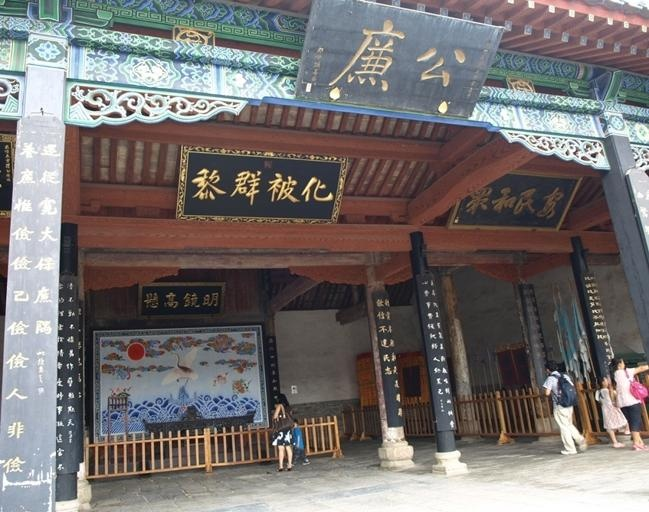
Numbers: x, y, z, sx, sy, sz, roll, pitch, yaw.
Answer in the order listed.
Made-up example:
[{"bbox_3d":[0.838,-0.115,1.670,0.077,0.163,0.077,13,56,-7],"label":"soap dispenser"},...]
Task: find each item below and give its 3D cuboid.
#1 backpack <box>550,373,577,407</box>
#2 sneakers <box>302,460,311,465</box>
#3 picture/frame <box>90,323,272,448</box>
[{"bbox_3d":[3.377,1.854,7.057,0.338,0.502,0.202,-8,-17,2],"label":"backpack"},{"bbox_3d":[-0.279,3.572,8.711,0.147,0.088,0.057,-10,-14,43],"label":"sneakers"},{"bbox_3d":[-3.078,2.716,11.129,3.852,2.119,0.048,5,-10,-31],"label":"picture/frame"}]
